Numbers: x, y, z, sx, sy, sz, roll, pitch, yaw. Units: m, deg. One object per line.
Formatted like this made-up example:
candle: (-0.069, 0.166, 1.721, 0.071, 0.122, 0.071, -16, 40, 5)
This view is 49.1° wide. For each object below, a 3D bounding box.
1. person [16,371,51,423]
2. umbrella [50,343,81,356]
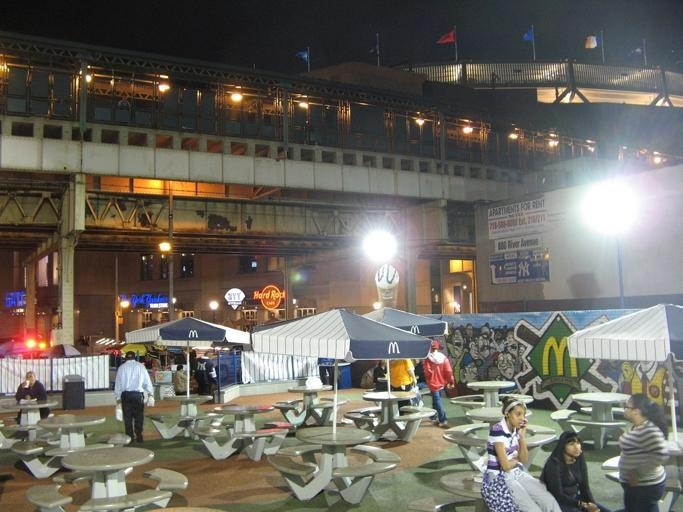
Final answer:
person: (-10.175, 4.750, 24.474, 1.050, 1.786, 0.952, -2, -14, -14)
umbrella: (-11.735, 4.045, 31.740, 1.127, 0.693, 2.583, 0, -9, -23)
